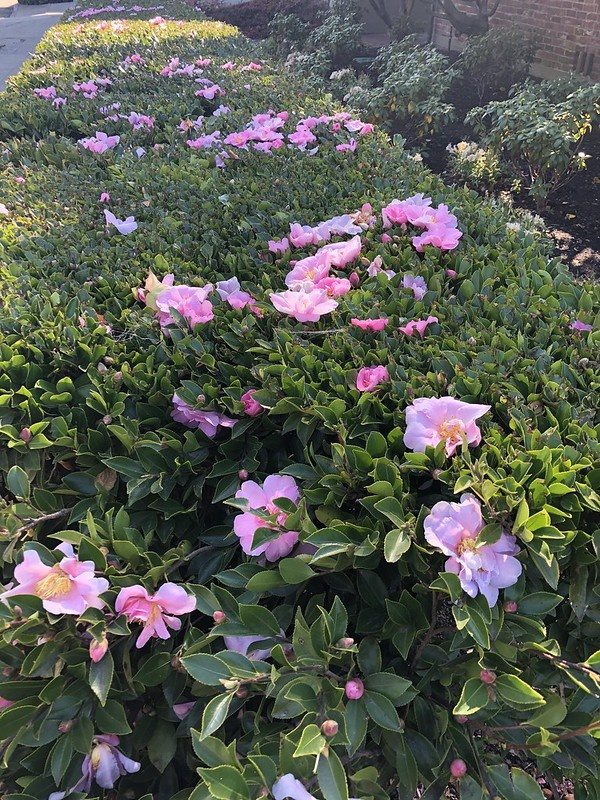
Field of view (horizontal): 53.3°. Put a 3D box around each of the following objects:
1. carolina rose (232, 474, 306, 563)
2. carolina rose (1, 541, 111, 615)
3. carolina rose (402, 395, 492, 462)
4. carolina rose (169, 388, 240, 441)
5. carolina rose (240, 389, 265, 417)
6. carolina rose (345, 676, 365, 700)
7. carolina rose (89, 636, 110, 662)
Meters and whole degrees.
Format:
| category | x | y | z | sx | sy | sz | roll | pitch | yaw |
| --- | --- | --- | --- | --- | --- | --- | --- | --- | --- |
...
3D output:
| category | x | y | z | sx | sy | sz | roll | pitch | yaw |
| --- | --- | --- | --- | --- | --- | --- | --- | --- | --- |
| carolina rose | -0.075 | 0.284 | 1.350 | 0.149 | 0.230 | 0.198 | -2 | 34 | 0 |
| carolina rose | -0.452 | 0.336 | 1.122 | 0.165 | 0.066 | 0.155 | -5 | 66 | -37 |
| carolina rose | 0.304 | 0.067 | 1.348 | 0.185 | 0.152 | 0.137 | 20 | 40 | 29 |
| carolina rose | -0.273 | 0.048 | 1.660 | 0.153 | 0.061 | 0.144 | 6 | 18 | -41 |
| carolina rose | -0.133 | 0.010 | 1.615 | 0.067 | 0.063 | 0.032 | 37 | 17 | 7 |
| carolina rose | 0.100 | 0.533 | 1.105 | 0.034 | 0.019 | 0.040 | 2 | 62 | -27 |
| carolina rose | -0.384 | 0.476 | 1.136 | 0.037 | 0.047 | 0.020 | 1 | 4 | 44 |
